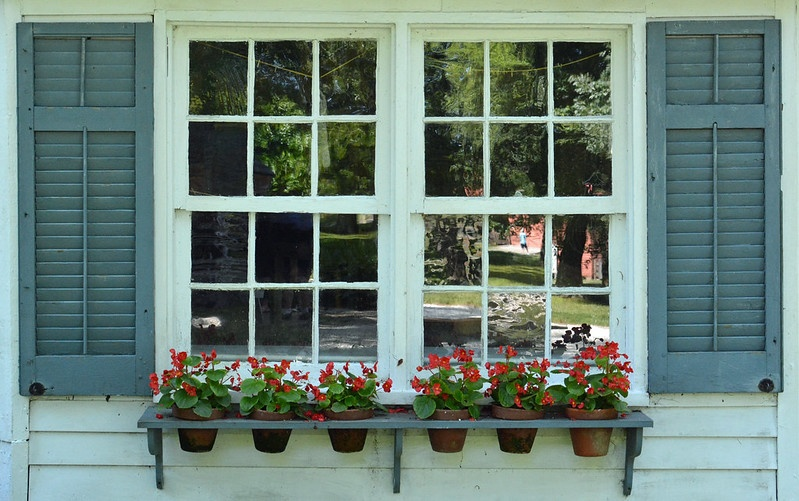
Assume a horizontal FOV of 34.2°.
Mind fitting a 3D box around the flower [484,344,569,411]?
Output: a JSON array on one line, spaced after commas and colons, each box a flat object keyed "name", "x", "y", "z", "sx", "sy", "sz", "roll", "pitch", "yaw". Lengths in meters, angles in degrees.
[{"name": "flower", "x": 0.688, "y": 0.737, "z": 7.225, "sx": 0.412, "sy": 0.219, "sz": 0.370, "roll": 6, "pitch": 23, "yaw": -4}]

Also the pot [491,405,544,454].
[{"name": "pot", "x": 0.662, "y": 0.995, "z": 7.248, "sx": 0.311, "sy": 0.205, "sz": 0.285, "roll": 1, "pitch": -6, "yaw": 0}]

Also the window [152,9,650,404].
[{"name": "window", "x": -0.009, "y": -0.215, "z": 7.405, "sx": 2.718, "sy": 1.631, "sz": 0.273, "roll": 0, "pitch": 0, "yaw": 0}]

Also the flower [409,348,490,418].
[{"name": "flower", "x": 0.284, "y": 0.758, "z": 7.355, "sx": 0.436, "sy": 0.257, "sz": 0.412, "roll": 2, "pitch": 9, "yaw": -1}]

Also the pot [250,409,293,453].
[{"name": "pot", "x": -0.708, "y": 1.005, "z": 7.234, "sx": 0.273, "sy": 0.176, "sz": 0.247, "roll": 2, "pitch": -7, "yaw": -12}]

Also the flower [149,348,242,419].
[{"name": "flower", "x": -1.113, "y": 0.742, "z": 7.197, "sx": 0.472, "sy": 0.267, "sz": 0.426, "roll": 3, "pitch": -7, "yaw": -10}]

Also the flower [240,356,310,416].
[{"name": "flower", "x": -0.685, "y": 0.759, "z": 7.205, "sx": 0.343, "sy": 0.327, "sz": 0.194, "roll": 1, "pitch": 7, "yaw": 18}]

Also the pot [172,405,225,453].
[{"name": "pot", "x": -1.122, "y": 0.986, "z": 7.243, "sx": 0.302, "sy": 0.194, "sz": 0.282, "roll": 1, "pitch": -5, "yaw": 0}]

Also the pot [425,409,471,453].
[{"name": "pot", "x": 0.283, "y": 1.007, "z": 7.226, "sx": 0.268, "sy": 0.180, "sz": 0.246, "roll": 0, "pitch": -7, "yaw": 0}]

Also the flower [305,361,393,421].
[{"name": "flower", "x": -0.265, "y": 0.782, "z": 7.279, "sx": 0.427, "sy": 0.236, "sz": 0.324, "roll": 0, "pitch": -3, "yaw": 4}]

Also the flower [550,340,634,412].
[{"name": "flower", "x": 1.095, "y": 0.708, "z": 7.314, "sx": 0.463, "sy": 0.405, "sz": 0.339, "roll": 0, "pitch": 6, "yaw": 8}]

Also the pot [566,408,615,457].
[{"name": "pot", "x": 1.076, "y": 1.013, "z": 7.248, "sx": 0.310, "sy": 0.203, "sz": 0.281, "roll": 1, "pitch": -7, "yaw": -1}]

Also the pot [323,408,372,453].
[{"name": "pot", "x": -0.270, "y": 1.022, "z": 7.339, "sx": 0.336, "sy": 0.212, "sz": 0.298, "roll": 2, "pitch": 2, "yaw": -24}]
